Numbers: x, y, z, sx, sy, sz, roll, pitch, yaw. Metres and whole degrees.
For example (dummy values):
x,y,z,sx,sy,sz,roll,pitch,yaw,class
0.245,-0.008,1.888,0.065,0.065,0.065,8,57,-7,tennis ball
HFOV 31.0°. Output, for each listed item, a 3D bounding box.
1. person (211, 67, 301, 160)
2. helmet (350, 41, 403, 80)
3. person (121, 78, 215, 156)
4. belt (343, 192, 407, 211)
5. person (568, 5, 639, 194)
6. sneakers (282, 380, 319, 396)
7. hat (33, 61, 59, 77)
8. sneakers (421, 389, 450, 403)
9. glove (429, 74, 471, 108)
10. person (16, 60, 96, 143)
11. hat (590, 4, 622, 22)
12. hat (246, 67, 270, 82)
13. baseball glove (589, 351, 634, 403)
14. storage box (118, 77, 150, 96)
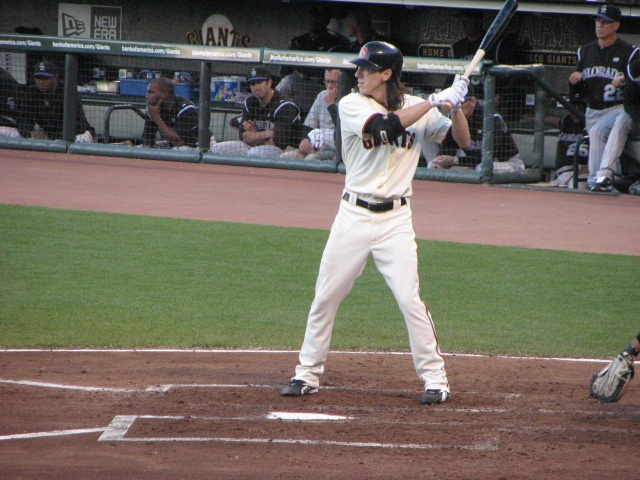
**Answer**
x,y,z,sx,sy,sz,roll,pitch,yaw,class
-0.960,-1.801,16.661,1.180,1.295,1.361,9,15,40,person
0.475,-1.483,9.553,0.376,0.163,0.272,15,10,-8,helmet
-2.326,-1.593,17.405,1.394,1.701,0.760,2,24,-19,person
0.456,-0.306,9.543,0.527,0.143,0.133,4,8,2,belt
3.632,-1.838,14.913,0.528,2.361,0.881,1,9,-21,person
-0.185,1.236,9.702,0.318,0.125,0.119,4,18,-17,sneakers
-4.079,-2.538,17.123,0.328,0.240,0.333,5,8,10,hat
0.945,1.293,9.582,0.266,0.113,0.090,-3,5,-6,sneakers
1.077,-1.201,9.503,0.218,0.108,0.372,26,35,5,glove
-3.990,-2.089,17.444,1.029,1.167,0.792,3,8,-9,person
3.629,-2.854,14.617,0.293,0.153,0.201,3,24,-30,hat
-0.855,-2.329,16.336,0.304,0.205,0.421,3,8,-5,hat
2.348,1.122,9.325,0.304,0.414,0.176,34,9,40,baseball glove
-2.799,-2.295,17.317,0.360,0.189,0.341,1,9,-1,storage box
